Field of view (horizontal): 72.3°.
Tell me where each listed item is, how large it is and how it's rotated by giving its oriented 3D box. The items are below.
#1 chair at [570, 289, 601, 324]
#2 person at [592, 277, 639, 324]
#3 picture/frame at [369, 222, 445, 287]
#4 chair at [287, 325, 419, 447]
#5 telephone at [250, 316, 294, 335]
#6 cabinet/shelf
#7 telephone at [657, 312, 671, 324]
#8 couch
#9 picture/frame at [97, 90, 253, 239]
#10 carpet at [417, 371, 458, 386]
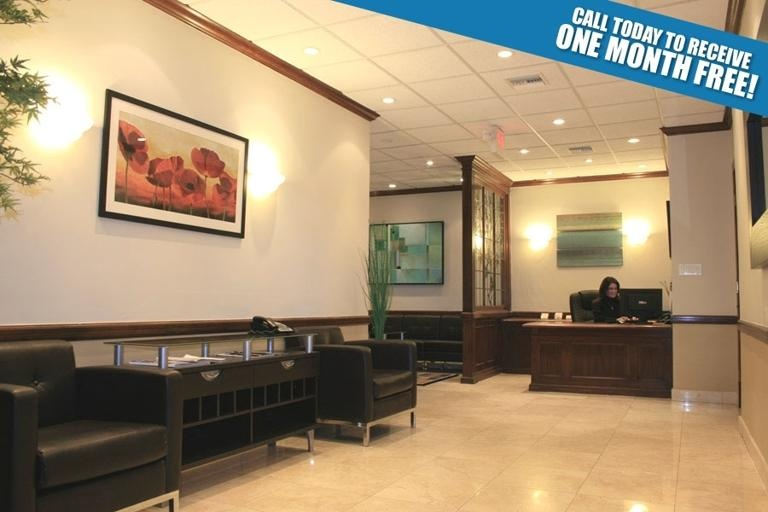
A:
[{"bbox_3d":[3.250,0.807,8.597,0.492,0.592,0.526,2,-7,4],"label":"chair"},{"bbox_3d":[3.629,0.746,8.212,0.695,0.892,0.778,0,12,20],"label":"person"},{"bbox_3d":[0.521,-0.014,10.083,1.476,1.034,0.048,-1,-2,22],"label":"picture/frame"},{"bbox_3d":[-0.146,1.224,5.251,1.236,1.103,1.182,-5,-7,34],"label":"chair"},{"bbox_3d":[-1.013,0.619,4.740,0.393,0.169,0.248,-1,-4,-24],"label":"telephone"},{"bbox_3d":[-1.275,1.239,3.879,0.399,0.720,1.213,-4,-6,25],"label":"cabinet/shelf"},{"bbox_3d":[4.250,0.923,7.881,0.209,0.160,0.148,-1,5,-37],"label":"telephone"},{"bbox_3d":[0.611,1.377,8.490,1.477,0.654,0.463,-4,-13,26],"label":"couch"},{"bbox_3d":[-1.810,-0.767,4.406,0.055,0.931,1.482,-2,-9,33],"label":"picture/frame"},{"bbox_3d":[0.924,2.052,8.925,0.700,0.061,1.492,-3,-4,4],"label":"carpet"}]
